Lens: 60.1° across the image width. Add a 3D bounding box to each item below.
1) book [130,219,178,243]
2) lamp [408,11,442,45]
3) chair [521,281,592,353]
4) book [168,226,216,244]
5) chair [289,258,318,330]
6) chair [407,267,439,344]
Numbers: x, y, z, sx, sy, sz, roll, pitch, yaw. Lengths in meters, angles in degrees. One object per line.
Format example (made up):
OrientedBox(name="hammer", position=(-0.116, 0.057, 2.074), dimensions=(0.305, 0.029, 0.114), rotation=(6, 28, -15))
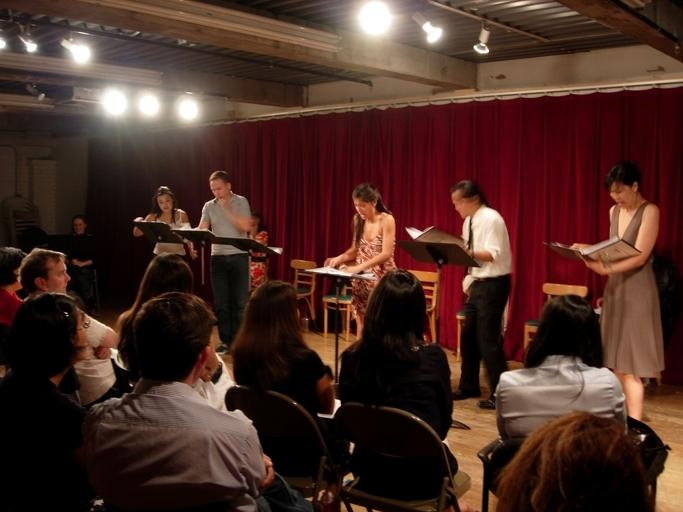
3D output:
OrientedBox(name="book", position=(-2.001, -0.272, 6.337), dimensions=(0.526, 0.083, 0.418), rotation=(9, -34, 17))
OrientedBox(name="lamp", position=(0.710, -1.974, 5.064), dimensions=(0.283, 0.174, 0.167), rotation=(43, -27, -9))
OrientedBox(name="chair", position=(1.879, 0.631, 5.372), dimensions=(0.442, 0.758, 0.478), rotation=(1, -2, 14))
OrientedBox(name="book", position=(-1.315, -0.192, 5.347), dimensions=(0.236, 0.100, 0.225), rotation=(-3, -19, 42))
OrientedBox(name="chair", position=(-0.577, 0.453, 7.112), dimensions=(0.508, 0.797, 0.517), rotation=(3, 6, 8))
OrientedBox(name="chair", position=(0.799, 0.572, 6.214), dimensions=(0.425, 0.707, 0.479), rotation=(0, 11, 7))
